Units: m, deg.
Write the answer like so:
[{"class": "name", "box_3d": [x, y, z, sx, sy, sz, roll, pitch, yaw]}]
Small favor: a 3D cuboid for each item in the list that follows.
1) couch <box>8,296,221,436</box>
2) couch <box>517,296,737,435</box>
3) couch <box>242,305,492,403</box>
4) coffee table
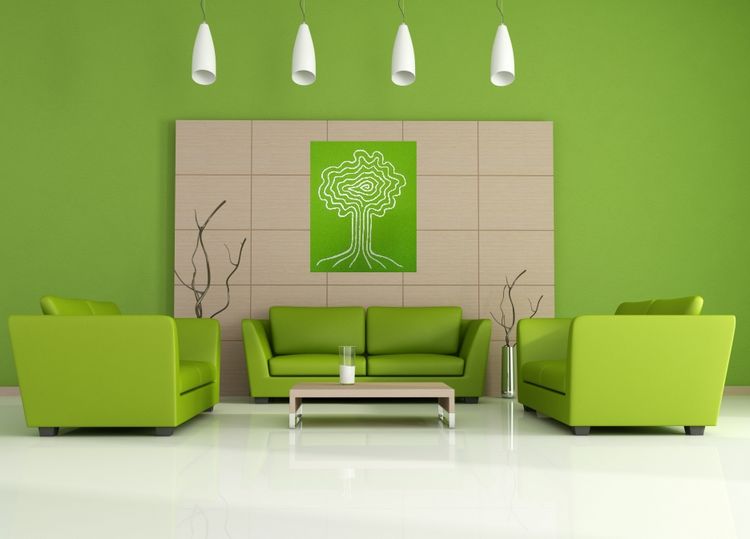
[{"class": "couch", "box_3d": [-2.002, 0.724, 5.120, 1.174, 1.036, 1.162, 0, 0, 4]}, {"class": "couch", "box_3d": [1.976, 0.803, 5.174, 1.092, 1.029, 1.671, 1, -6, 2]}, {"class": "couch", "box_3d": [-0.085, 0.840, 6.286, 2.339, 1.016, 0.930, 0, -4, -4]}, {"class": "coffee table", "box_3d": [-0.030, 1.076, 5.500, 1.297, 0.349, 1.231, 0, 0, -2]}]
